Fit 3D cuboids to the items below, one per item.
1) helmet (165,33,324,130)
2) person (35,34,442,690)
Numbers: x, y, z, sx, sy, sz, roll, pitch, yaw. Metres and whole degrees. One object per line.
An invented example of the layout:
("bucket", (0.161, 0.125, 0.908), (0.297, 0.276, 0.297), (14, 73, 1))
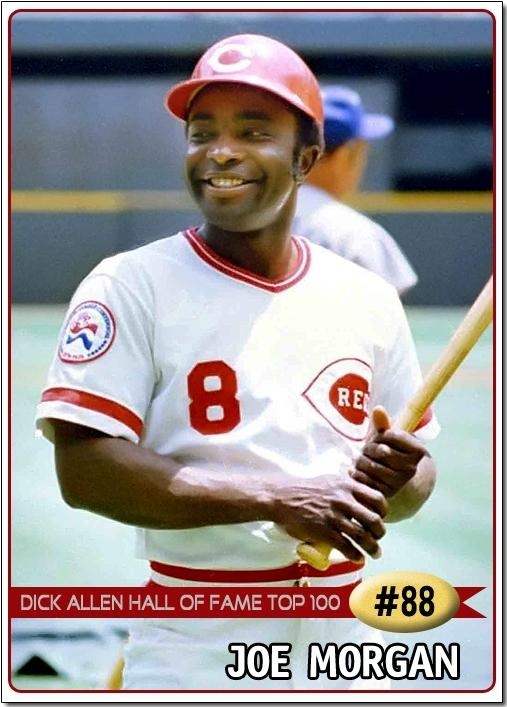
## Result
("helmet", (-0.044, -0.880, 3.156), (0.410, 0.194, 0.455), (-2, 1, -2))
("person", (-0.005, 0.046, 3.145), (1.130, 2.031, 0.906), (5, 16, 9))
